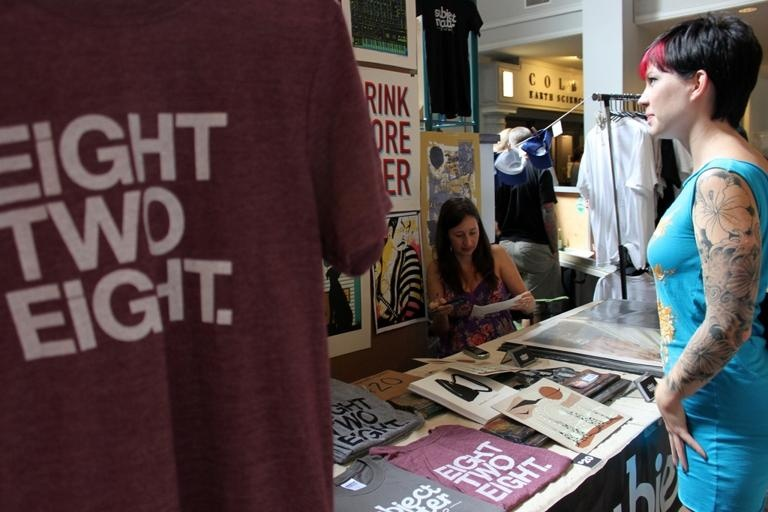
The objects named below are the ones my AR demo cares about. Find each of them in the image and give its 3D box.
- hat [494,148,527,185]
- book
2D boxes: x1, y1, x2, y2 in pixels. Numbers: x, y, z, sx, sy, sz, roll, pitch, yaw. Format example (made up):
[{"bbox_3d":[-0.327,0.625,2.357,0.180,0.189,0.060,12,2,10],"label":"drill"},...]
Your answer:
[{"bbox_3d":[1.065,-0.739,4.447,0.397,0.284,0.175,-13,17,-37],"label":"hat"},{"bbox_3d":[0.638,0.554,1.975,0.358,0.075,0.346,-15,18,-41],"label":"book"}]
